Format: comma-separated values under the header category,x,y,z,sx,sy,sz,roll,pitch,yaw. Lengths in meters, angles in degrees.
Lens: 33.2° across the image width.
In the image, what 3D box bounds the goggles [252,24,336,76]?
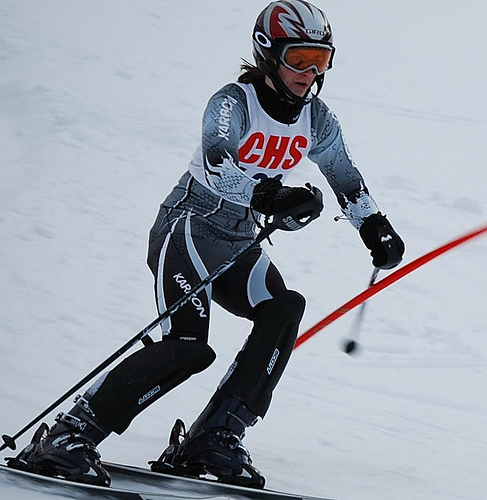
category,x,y,z,sx,sy,sz,roll,pitch,yaw
goggles,0.222,-0.735,3.021,0.200,0.069,0.217,-3,-1,4
